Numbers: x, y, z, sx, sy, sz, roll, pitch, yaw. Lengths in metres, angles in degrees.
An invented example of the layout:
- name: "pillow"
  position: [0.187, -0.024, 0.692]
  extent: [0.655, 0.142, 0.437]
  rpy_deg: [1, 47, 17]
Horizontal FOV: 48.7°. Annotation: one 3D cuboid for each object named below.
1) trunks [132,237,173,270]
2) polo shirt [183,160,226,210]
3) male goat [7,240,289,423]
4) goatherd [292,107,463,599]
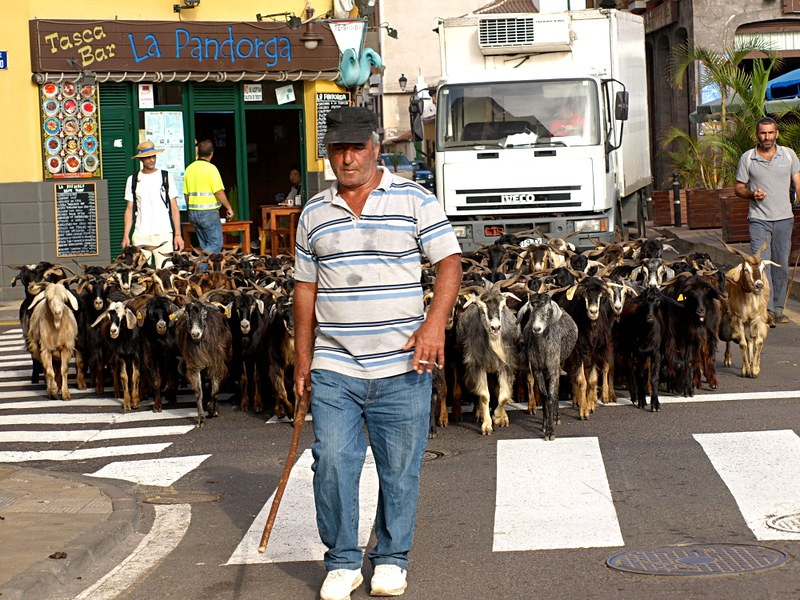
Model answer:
- name: "trunks"
  position: [-4.203, -0.803, 15.144]
  extent: [0.529, 0.784, 0.412]
  rpy_deg: [-1, -1, -1]
- name: "polo shirt"
  position: [-3.777, -2.214, 17.153]
  extent: [0.695, 0.992, 0.419]
  rpy_deg: [-4, 5, -15]
- name: "male goat"
  position: [-3.301, 0.416, 12.383]
  extent: [3.337, 1.805, 4.919]
  rpy_deg: [-6, 7, -29]
- name: "goatherd"
  position: [-0.136, 0.317, 5.851]
  extent: [0.928, 2.875, 1.257]
  rpy_deg: [0, 1, -6]
